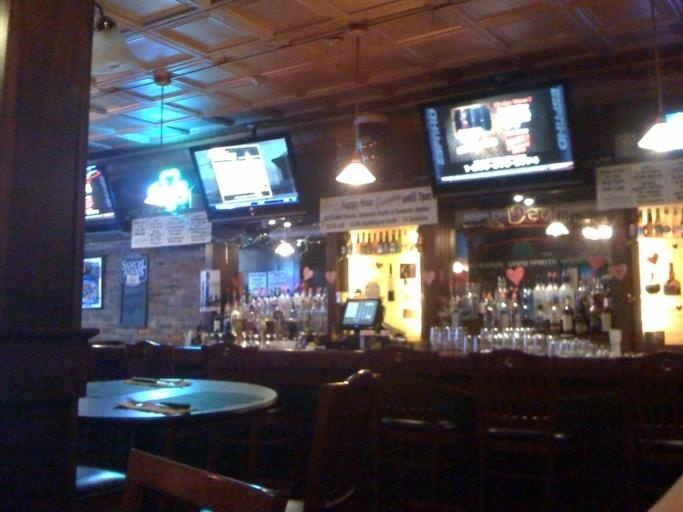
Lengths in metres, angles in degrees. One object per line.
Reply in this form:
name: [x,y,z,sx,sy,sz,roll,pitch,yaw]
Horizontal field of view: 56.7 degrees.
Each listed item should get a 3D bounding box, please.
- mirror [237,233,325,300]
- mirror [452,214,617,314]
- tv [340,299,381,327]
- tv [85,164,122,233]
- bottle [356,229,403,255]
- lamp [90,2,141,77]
mirror: [-1.051,0.155,11.115,1.644,1.088,0.039,0,-1,19]
mirror: [2.355,0.120,8.171,1.699,1.305,0.565,0,22,3]
tv: [0.179,0.540,5.943,0.392,0.274,0.162,-3,-5,31]
tv: [-3.299,-0.817,8.787,0.415,0.896,0.570,1,-5,-19]
bottle: [0.404,-0.160,7.069,0.521,0.270,0.138,-3,-5,29]
lamp: [-1.638,-1.557,4.541,0.277,0.432,0.363,2,-5,-29]
